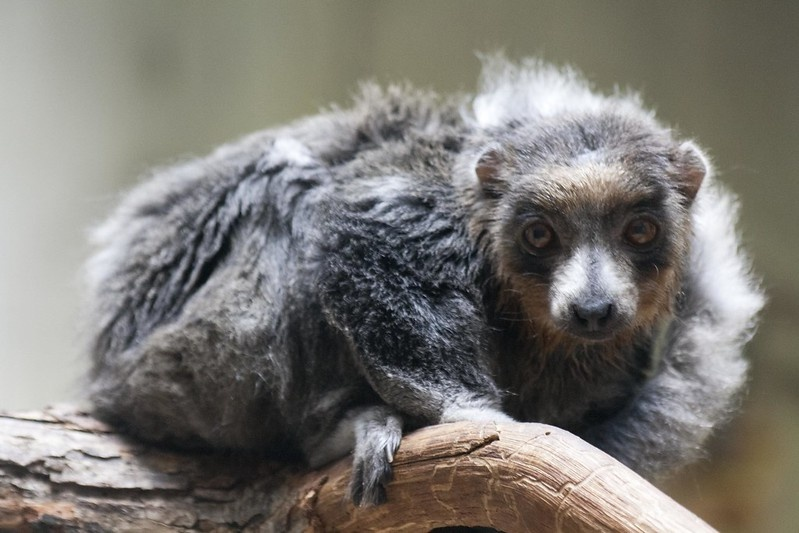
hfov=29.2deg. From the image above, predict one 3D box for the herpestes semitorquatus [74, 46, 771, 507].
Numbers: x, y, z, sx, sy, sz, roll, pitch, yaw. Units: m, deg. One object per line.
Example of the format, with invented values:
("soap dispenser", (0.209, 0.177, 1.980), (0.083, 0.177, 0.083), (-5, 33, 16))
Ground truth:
("herpestes semitorquatus", (0.190, -0.027, 7.286), (3.421, 2.018, 1.888), (0, 4, 39))
